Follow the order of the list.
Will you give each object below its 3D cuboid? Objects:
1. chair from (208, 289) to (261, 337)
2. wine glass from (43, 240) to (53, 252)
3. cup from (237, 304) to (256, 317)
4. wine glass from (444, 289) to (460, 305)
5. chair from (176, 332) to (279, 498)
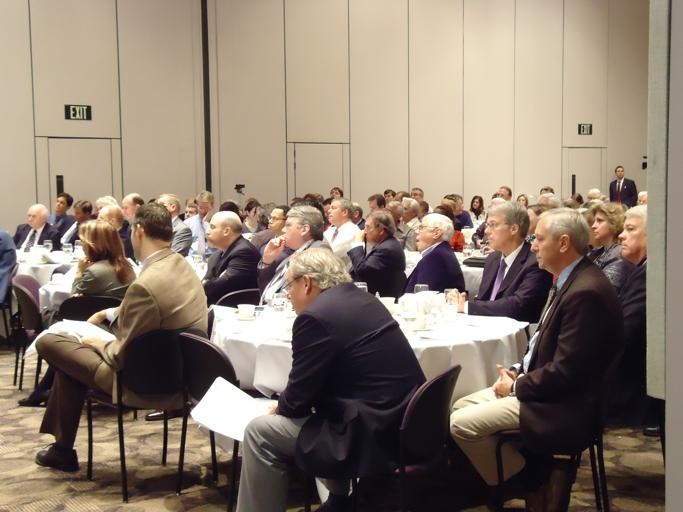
[{"bbox_3d":[-0.897,0.446,4.774,0.280,0.407,0.279,2,-2,-9],"label":"chair"},{"bbox_3d":[-3.949,-0.129,7.435,0.146,0.171,0.152,5,6,38],"label":"wine glass"},{"bbox_3d":[-0.648,0.369,3.762,0.081,0.073,0.085,0,-3,0],"label":"cup"},{"bbox_3d":[0.781,0.289,3.912,0.077,0.106,0.107,0,-2,-27],"label":"wine glass"},{"bbox_3d":[-0.633,0.936,2.977,0.472,1.009,0.995,-2,6,-18],"label":"chair"}]
